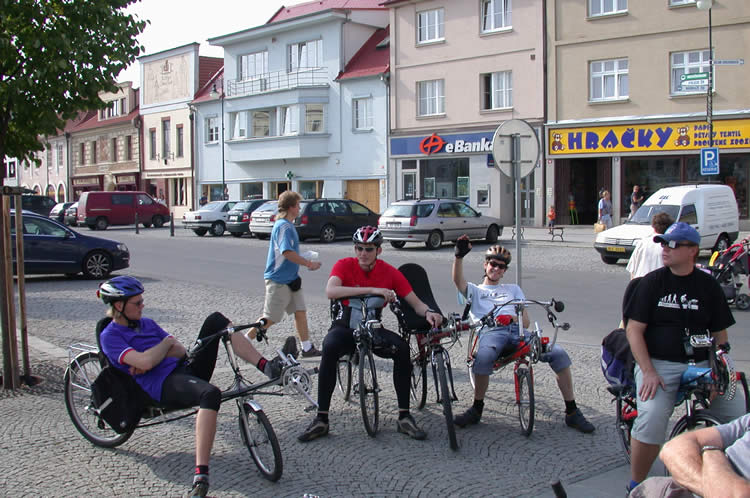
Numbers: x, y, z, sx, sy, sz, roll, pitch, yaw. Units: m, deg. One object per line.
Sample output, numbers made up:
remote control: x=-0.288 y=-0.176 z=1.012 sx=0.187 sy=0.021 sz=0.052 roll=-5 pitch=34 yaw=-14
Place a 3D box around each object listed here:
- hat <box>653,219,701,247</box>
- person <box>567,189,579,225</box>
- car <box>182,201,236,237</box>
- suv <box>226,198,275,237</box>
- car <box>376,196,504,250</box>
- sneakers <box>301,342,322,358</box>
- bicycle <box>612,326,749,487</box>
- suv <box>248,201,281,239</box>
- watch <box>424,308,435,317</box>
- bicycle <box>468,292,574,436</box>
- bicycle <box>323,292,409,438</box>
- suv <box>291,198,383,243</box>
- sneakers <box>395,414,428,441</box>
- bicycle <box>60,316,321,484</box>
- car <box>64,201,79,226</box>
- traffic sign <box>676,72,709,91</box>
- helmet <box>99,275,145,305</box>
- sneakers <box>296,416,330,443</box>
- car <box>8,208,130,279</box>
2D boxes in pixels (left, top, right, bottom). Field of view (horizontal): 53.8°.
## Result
hat: x=2.585 y=-0.139 z=6.276 sx=0.308 sy=0.167 sz=0.198 roll=2 pitch=-2 yaw=-6
person: x=8.825 y=-1.842 z=32.968 sx=0.443 sy=1.432 sz=0.719 roll=3 pitch=2 yaw=15
car: x=-7.495 y=-1.375 z=33.149 sx=2.517 sy=0.980 sz=1.211 roll=-9 pitch=12 yaw=-36
suv: x=-5.360 y=-1.482 z=32.363 sx=1.066 sy=1.112 sz=2.383 roll=4 pitch=10 yaw=31
car: x=2.223 y=-1.026 z=25.805 sx=3.843 sy=1.365 sz=1.722 roll=-9 pitch=11 yaw=-37
sneakers: x=-0.874 y=1.445 z=10.515 sx=0.345 sy=0.158 sz=0.123 roll=-1 pitch=7 yaw=-44
bicycle: x=2.602 y=1.381 z=6.185 sx=0.722 sy=0.939 sz=1.425 roll=4 pitch=-3 yaw=-20
suv: x=-4.367 y=-1.050 z=29.018 sx=1.117 sy=1.087 sz=2.431 roll=3 pitch=14 yaw=14
watch: x=0.586 y=0.696 z=8.037 sx=0.089 sy=0.086 sz=0.059 roll=-6 pitch=22 yaw=-26
bicycle: x=1.495 y=1.183 z=7.910 sx=0.972 sy=1.452 sz=1.233 roll=3 pitch=2 yaw=8
bicycle: x=-0.194 y=1.191 z=8.014 sx=0.612 sy=1.408 sz=1.108 roll=1 pitch=3 yaw=-31
suv: x=-1.653 y=-1.187 z=29.493 sx=3.279 sy=1.242 sz=1.520 roll=-8 pitch=9 yaw=-43
sneakers: x=0.383 y=1.819 z=7.540 sx=0.136 sy=0.189 sz=0.394 roll=-4 pitch=2 yaw=-30
bicycle: x=-1.866 y=1.358 z=7.585 sx=2.845 sy=1.598 sz=1.189 roll=1 pitch=9 yaw=15
car: x=-17.154 y=-1.943 z=41.975 sx=0.737 sy=0.788 sz=1.651 roll=1 pitch=11 yaw=-3
traffic sign: x=9.623 y=-5.075 z=22.275 sx=0.763 sy=0.547 sz=0.806 roll=0 pitch=7 yaw=13
helmet: x=-2.410 y=0.371 z=6.973 sx=0.362 sy=0.201 sz=0.272 roll=-8 pitch=11 yaw=4
sneakers: x=-0.665 y=1.836 z=7.510 sx=0.413 sy=0.203 sz=0.137 roll=-10 pitch=10 yaw=-38
car: x=-7.574 y=-0.037 z=18.296 sx=2.963 sy=1.072 sz=1.261 roll=-2 pitch=3 yaw=-27
